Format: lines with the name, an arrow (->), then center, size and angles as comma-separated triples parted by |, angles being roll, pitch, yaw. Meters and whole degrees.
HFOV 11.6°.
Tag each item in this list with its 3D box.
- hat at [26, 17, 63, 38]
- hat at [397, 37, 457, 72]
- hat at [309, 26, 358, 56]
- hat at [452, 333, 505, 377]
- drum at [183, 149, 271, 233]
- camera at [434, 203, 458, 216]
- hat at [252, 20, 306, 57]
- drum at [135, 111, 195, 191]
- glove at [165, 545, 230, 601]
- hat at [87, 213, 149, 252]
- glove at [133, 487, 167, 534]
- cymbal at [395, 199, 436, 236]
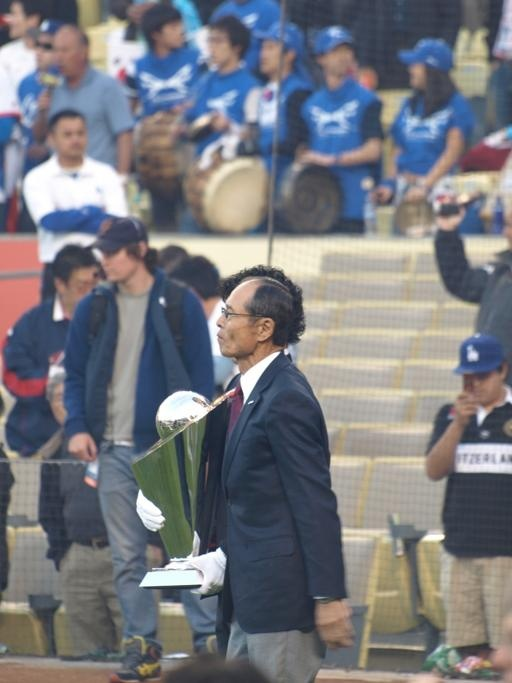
hat -> -0.955, -1.434, 11.605 | 0.117, 0.082, 0.094 | -9, -28, -5
hat -> 0.781, -1.294, 11.383 | 0.189, 0.113, 0.129 | 9, 20, 1
hat -> 0.346, -1.367, 11.387 | 0.248, 0.132, 0.157 | -2, 7, 43
hat -> 0.988, 0.068, 11.150 | 0.144, 0.128, 0.196 | 1, 13, 35
drum -> -0.108, -0.714, 11.654 | 0.330, 0.367, 0.135 | 19, 2, -21
camera -> 0.870, -0.590, 11.392 | 0.101, 0.056, 0.034 | -1, 14, 5
hat -> 0.122, -1.379, 11.465 | 0.221, 0.153, 0.090 | 12, 20, 42
drum -> -0.413, -0.869, 11.535 | 0.223, 0.357, 0.131 | 4, 1, 3
glove -> -0.188, 0.914, 9.893 | 0.165, 0.072, 0.182 | 1, 48, -5
hat -> -0.598, -0.498, 11.578 | 0.197, 0.119, 0.136 | -11, 7, -42
glove -> -0.404, 0.684, 9.888 | 0.060, 0.158, 0.113 | -31, 0, -14
cymbal -> 0.718, -0.554, 11.418 | 0.152, 0.169, 0.041 | 3, 2, 22
